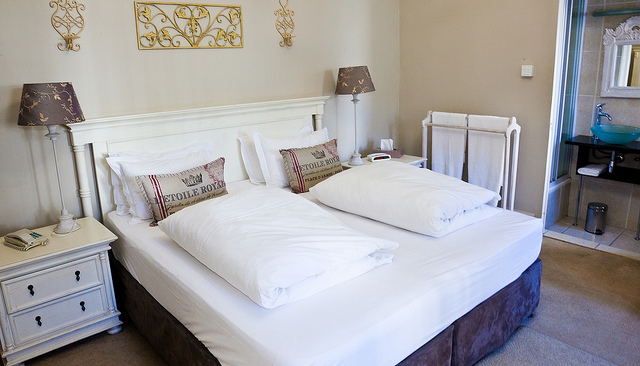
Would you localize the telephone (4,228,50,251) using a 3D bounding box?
[{"bbox_3d":[-2.509,0.472,3.470,0.249,0.073,0.193,-7,16,-39],"label":"telephone"}]

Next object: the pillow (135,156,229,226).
[{"bbox_3d":[-1.269,0.057,3.901,0.851,0.482,0.222,-20,28,-35],"label":"pillow"}]

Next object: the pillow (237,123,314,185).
[{"bbox_3d":[-0.552,-0.319,4.681,0.515,0.615,0.693,2,-1,-11],"label":"pillow"}]

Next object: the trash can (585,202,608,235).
[{"bbox_3d":[3.234,0.443,4.821,0.245,0.312,0.220,4,10,21],"label":"trash can"}]

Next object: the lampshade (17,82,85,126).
[{"bbox_3d":[-2.340,-0.684,3.625,0.517,0.343,0.507,-8,8,-13],"label":"lampshade"}]

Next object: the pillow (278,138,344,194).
[{"bbox_3d":[-0.060,-0.186,4.427,0.790,0.488,0.278,-16,13,-34],"label":"pillow"}]

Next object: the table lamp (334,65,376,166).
[{"bbox_3d":[0.389,-0.811,4.966,0.421,1.200,0.475,-18,26,-38],"label":"table lamp"}]

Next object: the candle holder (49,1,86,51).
[{"bbox_3d":[-2.280,-1.436,3.695,0.261,0.414,0.074,-15,20,-22],"label":"candle holder"}]

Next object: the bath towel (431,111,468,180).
[{"bbox_3d":[1.582,-0.446,5.062,0.427,0.807,0.078,-1,17,23],"label":"bath towel"}]
